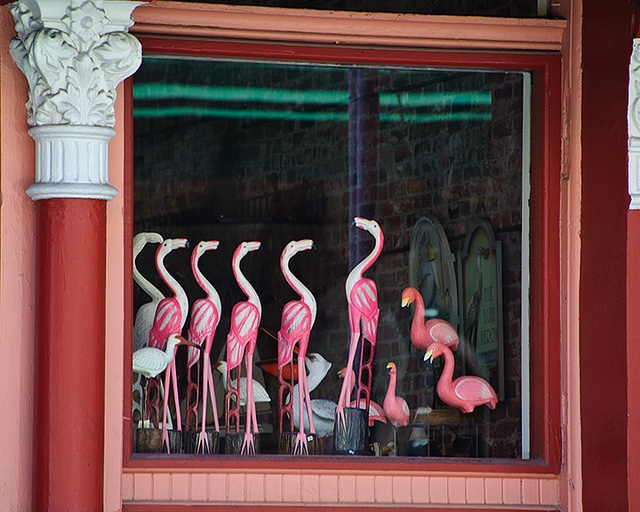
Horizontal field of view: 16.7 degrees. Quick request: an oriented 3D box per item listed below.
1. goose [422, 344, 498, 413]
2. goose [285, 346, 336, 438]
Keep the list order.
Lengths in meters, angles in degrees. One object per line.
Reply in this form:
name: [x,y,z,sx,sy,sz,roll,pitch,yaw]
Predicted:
goose: [0.828,0.716,12.746,0.419,0.424,0.153,-3,-11,3]
goose: [-0.041,0.808,12.738,0.196,0.561,0.235,2,-4,-27]
